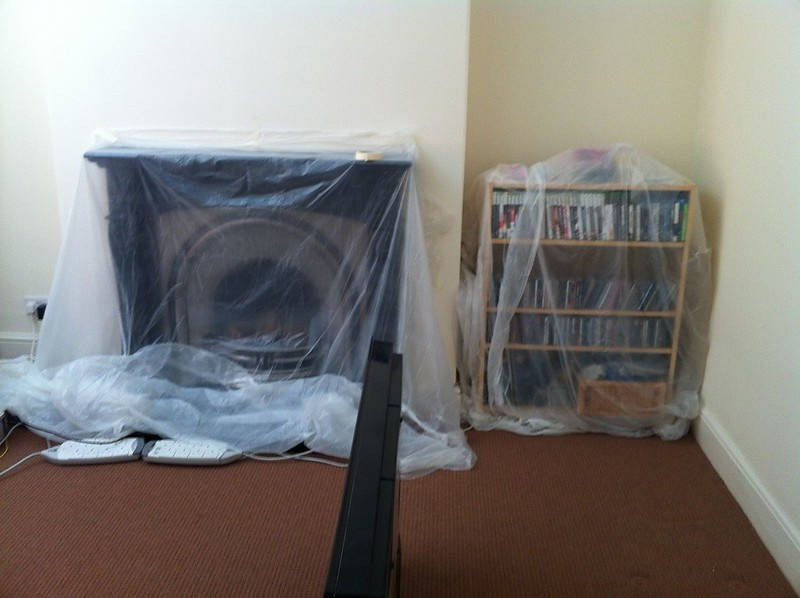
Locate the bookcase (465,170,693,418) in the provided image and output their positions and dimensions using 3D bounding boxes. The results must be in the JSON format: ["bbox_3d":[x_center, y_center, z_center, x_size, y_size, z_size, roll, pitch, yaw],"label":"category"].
[{"bbox_3d":[0.739,-0.036,2.403,0.825,1.082,0.344,2,6,6],"label":"bookcase"}]

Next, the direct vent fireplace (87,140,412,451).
[{"bbox_3d":[-0.555,-0.041,2.319,0.990,1.036,0.353,2,19,3],"label":"direct vent fireplace"}]

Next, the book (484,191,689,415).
[{"bbox_3d":[0.759,-0.021,2.401,0.737,1.002,0.327,1,8,5],"label":"book"}]

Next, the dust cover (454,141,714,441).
[{"bbox_3d":[0.750,0.001,2.413,0.979,1.511,0.501,1,12,4],"label":"dust cover"}]
